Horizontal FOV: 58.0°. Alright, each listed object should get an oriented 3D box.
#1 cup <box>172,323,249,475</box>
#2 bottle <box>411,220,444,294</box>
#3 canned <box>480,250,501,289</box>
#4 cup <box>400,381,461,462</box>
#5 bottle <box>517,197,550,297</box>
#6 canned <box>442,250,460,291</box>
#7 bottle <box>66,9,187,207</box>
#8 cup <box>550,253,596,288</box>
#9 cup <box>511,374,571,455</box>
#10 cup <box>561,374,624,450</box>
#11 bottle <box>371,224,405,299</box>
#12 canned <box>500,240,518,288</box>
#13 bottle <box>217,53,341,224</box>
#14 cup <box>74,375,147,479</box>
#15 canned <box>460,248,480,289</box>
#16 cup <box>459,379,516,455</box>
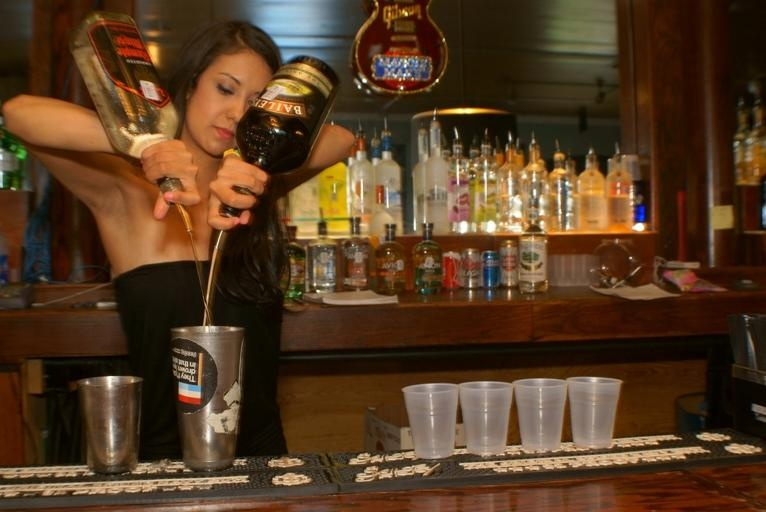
[{"bbox_3d":[-0.366,0.302,1.455,0.140,0.306,0.099,0,-3,-13],"label":"cup"},{"bbox_3d":[0.183,0.005,2.814,0.113,0.292,0.189,-1,-3,2],"label":"bottle"},{"bbox_3d":[0.480,0.055,3.007,0.093,0.156,0.042,1,-4,-28],"label":"canned"},{"bbox_3d":[0.111,0.354,1.520,0.164,0.158,0.160,-3,-6,0],"label":"cup"},{"bbox_3d":[0.617,-0.058,2.871,0.115,0.409,0.315,-1,-3,11],"label":"bottle"},{"bbox_3d":[0.304,0.060,2.980,0.092,0.158,0.039,1,-4,-33],"label":"canned"},{"bbox_3d":[-0.611,-0.412,1.680,0.247,0.365,0.139,-1,-3,8],"label":"bottle"},{"bbox_3d":[0.829,0.056,3.053,0.259,0.149,0.130,0,-1,-5],"label":"cup"},{"bbox_3d":[0.346,0.340,1.553,0.167,0.165,0.155,0,3,0],"label":"cup"},{"bbox_3d":[0.469,0.346,1.549,0.166,0.159,0.158,-2,-2,0],"label":"cup"},{"bbox_3d":[0.027,0.007,2.775,0.111,0.274,0.071,-1,-3,8],"label":"bottle"},{"bbox_3d":[0.550,0.027,3.015,0.075,0.208,0.076,-1,-3,9],"label":"canned"},{"bbox_3d":[-0.237,-0.341,1.703,0.220,0.277,0.219,-1,-3,0],"label":"bottle"},{"bbox_3d":[-0.583,0.358,1.480,0.122,0.207,0.123,-1,-3,0],"label":"cup"},{"bbox_3d":[0.387,0.052,2.993,0.090,0.168,0.046,0,-3,-4],"label":"canned"},{"bbox_3d":[0.226,0.356,1.610,0.165,0.159,0.154,-2,3,0],"label":"cup"}]
